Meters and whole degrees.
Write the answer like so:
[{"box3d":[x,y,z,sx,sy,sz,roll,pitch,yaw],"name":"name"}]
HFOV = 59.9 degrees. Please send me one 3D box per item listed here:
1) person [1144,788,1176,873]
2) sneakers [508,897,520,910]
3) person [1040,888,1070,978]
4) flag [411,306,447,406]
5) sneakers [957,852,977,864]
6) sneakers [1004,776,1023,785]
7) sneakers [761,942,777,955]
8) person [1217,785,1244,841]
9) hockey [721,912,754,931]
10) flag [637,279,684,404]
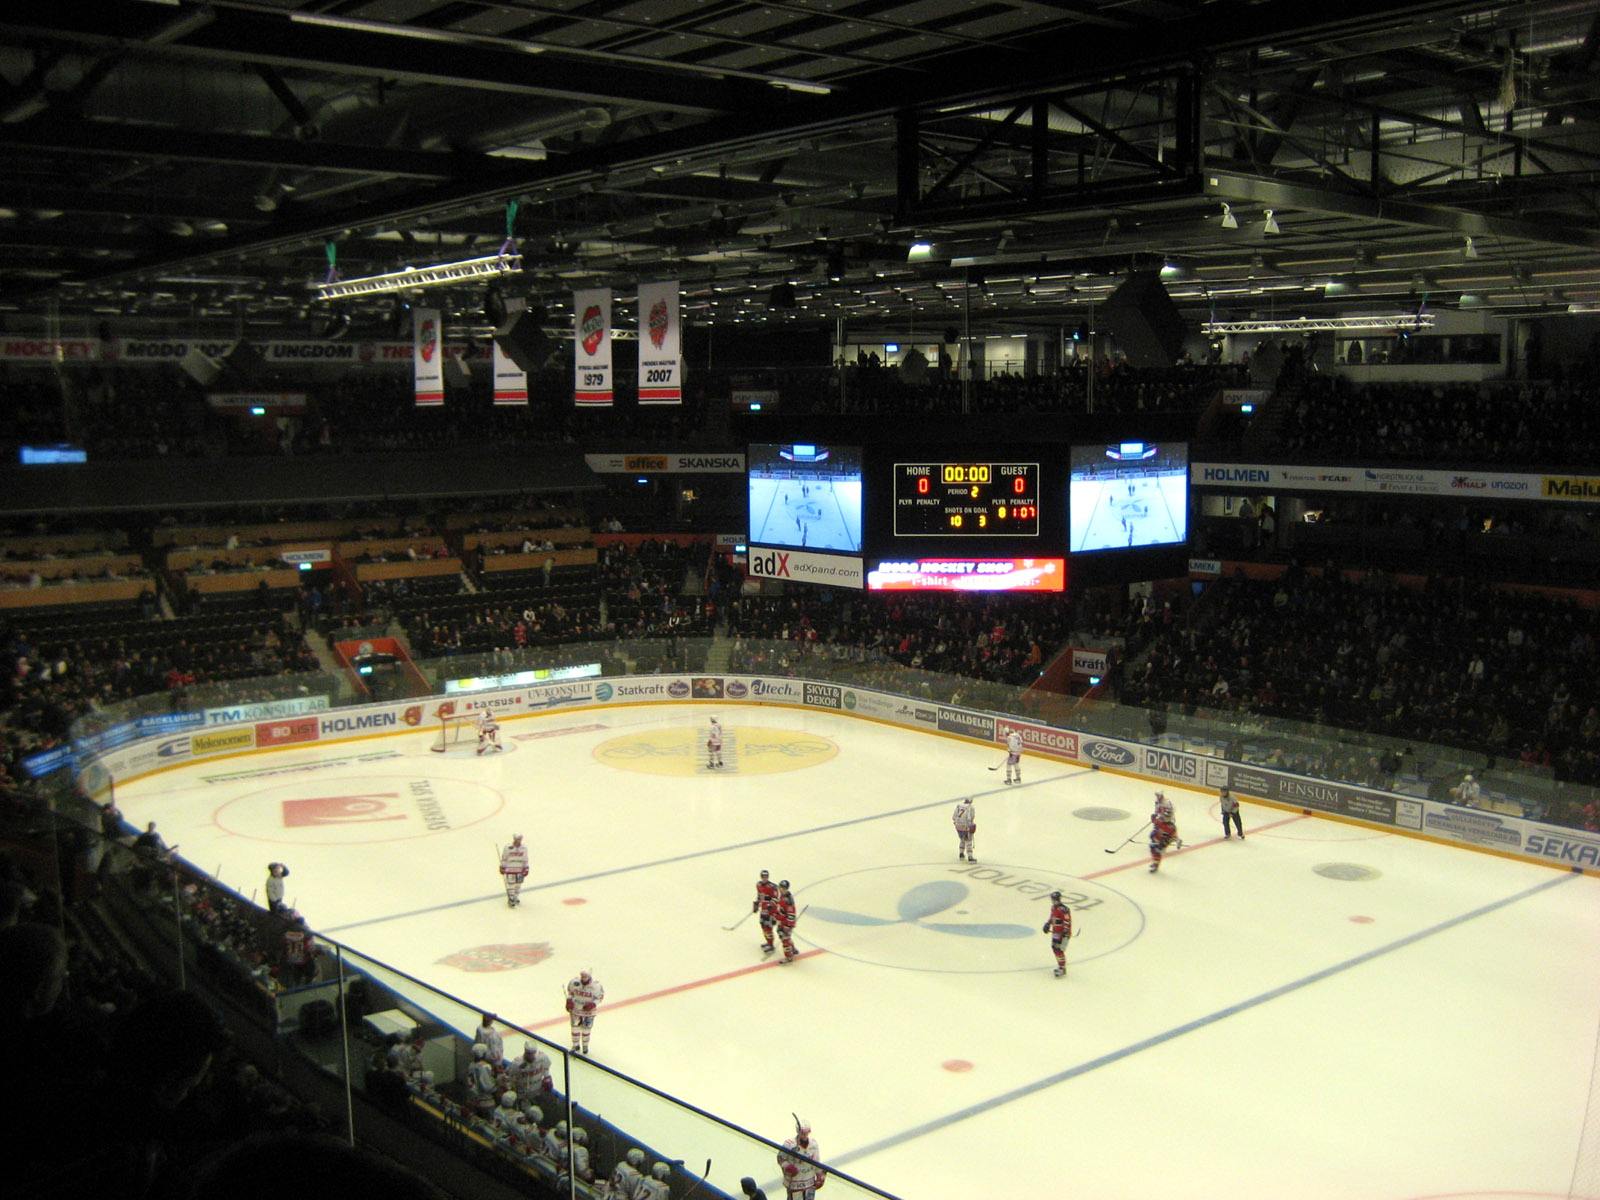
[{"box3d":[6.782,4.233,25.976,0.541,1.504,1.740,2,9,15],"name":"person"},{"box3d":[-4.954,5.233,23.940,0.202,0.087,0.266,0,3,-4],"name":"sneakers"},{"box3d":[4.004,5.010,21.481,0.353,1.246,1.337,2,9,10],"name":"person"},{"box3d":[-7.757,-5.073,29.022,0.461,1.885,0.960,-8,12,-43],"name":"flag"},{"box3d":[3.181,4.906,26.305,0.395,0.280,0.131,-3,5,37],"name":"sneakers"},{"box3d":[4.813,4.150,31.541,0.125,0.239,0.380,-4,-6,37],"name":"sneakers"},{"box3d":[-0.530,5.514,21.957,0.183,0.082,0.190,4,-6,-41],"name":"sneakers"},{"box3d":[8.522,4.171,27.358,0.466,1.164,1.053,3,9,18],"name":"person"},{"box3d":[-1.043,5.314,23.137,0.322,0.160,0.837,4,9,23],"name":"hockey"},{"box3d":[-2.417,-4.392,23.867,0.637,1.990,1.090,-2,9,-12],"name":"flag"}]
